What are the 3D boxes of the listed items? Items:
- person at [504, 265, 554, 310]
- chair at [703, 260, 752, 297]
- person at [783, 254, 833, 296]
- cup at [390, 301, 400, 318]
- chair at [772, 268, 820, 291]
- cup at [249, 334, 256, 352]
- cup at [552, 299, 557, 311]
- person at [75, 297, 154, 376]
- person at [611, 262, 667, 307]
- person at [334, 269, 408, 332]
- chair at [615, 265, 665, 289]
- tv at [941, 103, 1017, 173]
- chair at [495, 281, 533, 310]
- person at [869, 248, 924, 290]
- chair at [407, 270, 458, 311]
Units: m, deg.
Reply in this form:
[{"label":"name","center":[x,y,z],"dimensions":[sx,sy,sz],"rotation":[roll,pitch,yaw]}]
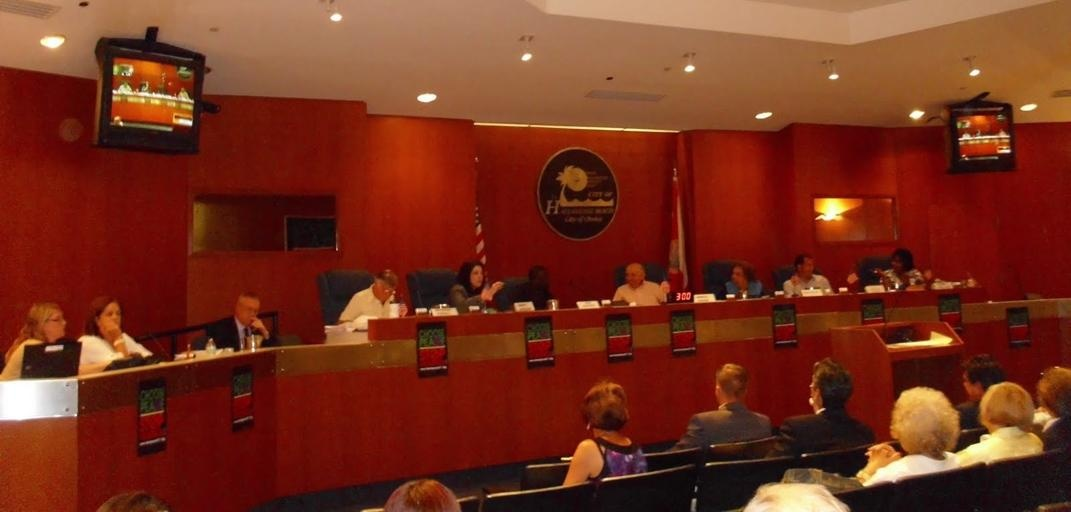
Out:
[{"label":"person","center":[-0.086,0.436,10.980],"dimensions":[0.560,0.619,0.859],"rotation":[-2,-1,-30]},{"label":"chair","center":[2.997,0.313,11.935],"dimensions":[0.595,0.663,0.623],"rotation":[1,-4,3]},{"label":"person","center":[4.220,0.283,11.763],"dimensions":[0.702,0.792,0.766],"rotation":[1,-10,3]},{"label":"cup","center":[-1.789,0.667,9.584],"dimensions":[0.149,0.167,0.309],"rotation":[-2,-1,-10]},{"label":"chair","center":[4.229,0.352,12.336],"dimensions":[0.514,0.516,0.502],"rotation":[-2,-10,8]},{"label":"cup","center":[-3.391,1.035,9.030],"dimensions":[0.098,0.173,0.220],"rotation":[-2,-1,-20]},{"label":"cup","center":[0.244,0.634,9.934],"dimensions":[0.079,0.127,0.215],"rotation":[-3,-1,-6]},{"label":"person","center":[-5.197,0.973,9.204],"dimensions":[0.673,1.008,0.885],"rotation":[-15,-6,28]},{"label":"person","center":[1.580,0.424,11.299],"dimensions":[0.656,0.744,0.733],"rotation":[0,-13,4]},{"label":"person","center":[-2.193,0.551,10.002],"dimensions":[0.838,0.725,0.968],"rotation":[-2,-1,-14]},{"label":"chair","center":[1.651,0.258,11.910],"dimensions":[0.465,0.460,0.570],"rotation":[1,-1,1]},{"label":"tv","center":[7.382,-2.016,12.423],"dimensions":[1.033,0.817,0.219],"rotation":[-3,-3,2]},{"label":"chair","center":[-0.342,0.538,11.153],"dimensions":[0.507,0.439,0.454],"rotation":[-10,-3,-5]},{"label":"person","center":[5.575,0.161,11.516],"dimensions":[0.616,0.578,1.424],"rotation":[-3,-1,23]},{"label":"chair","center":[-1.519,0.462,10.777],"dimensions":[0.646,0.752,0.601],"rotation":[0,-4,-21]}]
